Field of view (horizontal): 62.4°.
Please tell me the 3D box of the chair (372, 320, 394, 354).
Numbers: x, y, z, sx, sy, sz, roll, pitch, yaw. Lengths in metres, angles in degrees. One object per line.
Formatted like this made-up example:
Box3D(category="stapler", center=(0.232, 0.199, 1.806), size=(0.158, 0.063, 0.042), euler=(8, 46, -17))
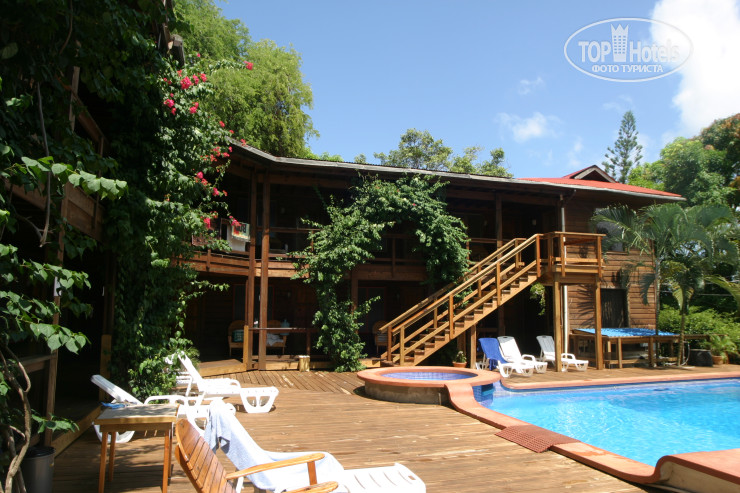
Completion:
Box3D(category="chair", center=(0.322, 2.948, 19.782), size=(0.658, 0.894, 0.792), euler=(2, -7, -14))
